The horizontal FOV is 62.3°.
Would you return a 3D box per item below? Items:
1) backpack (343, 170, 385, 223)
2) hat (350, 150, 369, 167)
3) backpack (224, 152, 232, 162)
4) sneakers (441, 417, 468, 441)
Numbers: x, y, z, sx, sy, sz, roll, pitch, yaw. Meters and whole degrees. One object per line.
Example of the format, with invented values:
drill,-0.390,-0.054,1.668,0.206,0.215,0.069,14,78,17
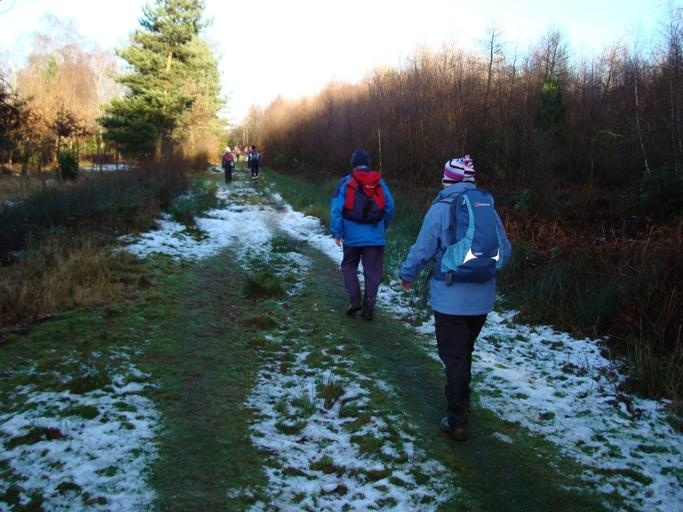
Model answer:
backpack,0.335,-0.923,8.909,0.568,0.995,0.467,2,-9,-7
hat,0.289,-1.589,9.173,0.195,0.305,0.289,0,13,-2
backpack,-4.739,-4.145,23.463,0.288,0.401,0.365,-3,11,-20
sneakers,1.368,2.133,6.853,0.158,0.179,0.358,-2,20,-14
